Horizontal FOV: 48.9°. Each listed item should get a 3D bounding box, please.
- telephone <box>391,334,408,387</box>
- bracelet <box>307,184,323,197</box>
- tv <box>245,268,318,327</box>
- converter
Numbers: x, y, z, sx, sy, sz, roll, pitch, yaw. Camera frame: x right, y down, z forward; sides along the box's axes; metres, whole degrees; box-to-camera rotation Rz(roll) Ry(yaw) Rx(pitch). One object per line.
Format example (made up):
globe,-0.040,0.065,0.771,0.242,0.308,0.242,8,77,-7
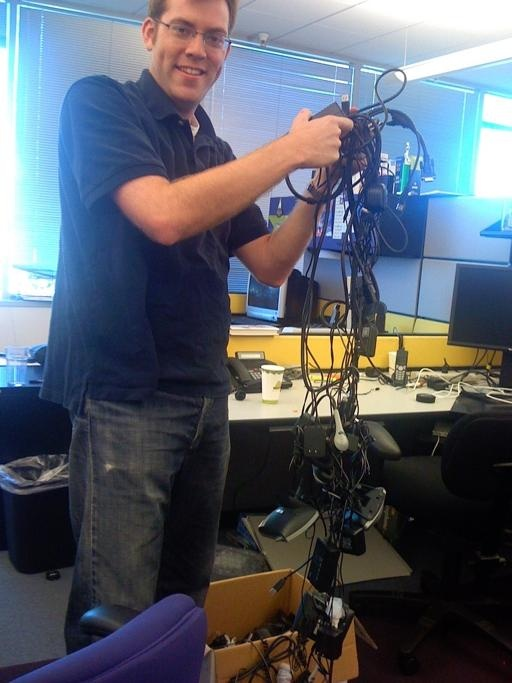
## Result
telephone,0.654,0.092,2.528,0.069,0.230,0.071,9,33,23
bracelet,0.098,-0.249,0.927,0.019,0.010,0.026,16,24,-29
tv,0.211,-0.251,3.548,0.354,0.478,0.527,0,7,-16
converter,0.147,0.096,1.079,0.285,1.130,0.347,3,12,-1
